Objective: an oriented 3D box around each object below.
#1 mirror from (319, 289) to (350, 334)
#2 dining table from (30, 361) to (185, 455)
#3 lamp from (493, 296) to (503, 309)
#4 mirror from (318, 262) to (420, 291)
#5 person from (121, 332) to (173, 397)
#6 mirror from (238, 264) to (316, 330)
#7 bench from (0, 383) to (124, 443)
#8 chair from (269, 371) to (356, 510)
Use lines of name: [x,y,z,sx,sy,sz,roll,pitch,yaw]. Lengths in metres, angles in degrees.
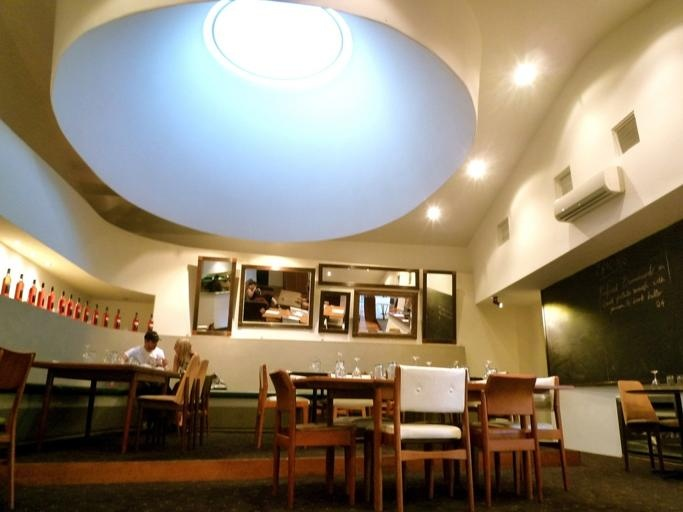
mirror: [-0.168,1.082,9.059,0.644,1.010,0.093,4,-17,-9]
dining table: [-2.556,1.596,5.153,1.209,0.916,1.638,8,-22,-15]
lamp: [2.927,0.858,9.023,0.130,0.226,0.203,-22,3,-23]
mirror: [0.511,0.401,9.287,1.957,0.445,0.104,5,-18,-6]
person: [-2.556,1.407,6.187,0.660,0.976,0.537,16,-29,-34]
mirror: [-1.282,0.803,8.944,0.984,0.984,0.078,3,-5,-6]
bench: [-3.043,1.704,5.175,0.685,0.583,1.212,-4,-27,15]
chair: [-0.333,1.536,4.224,0.850,1.503,0.873,3,-14,-10]
